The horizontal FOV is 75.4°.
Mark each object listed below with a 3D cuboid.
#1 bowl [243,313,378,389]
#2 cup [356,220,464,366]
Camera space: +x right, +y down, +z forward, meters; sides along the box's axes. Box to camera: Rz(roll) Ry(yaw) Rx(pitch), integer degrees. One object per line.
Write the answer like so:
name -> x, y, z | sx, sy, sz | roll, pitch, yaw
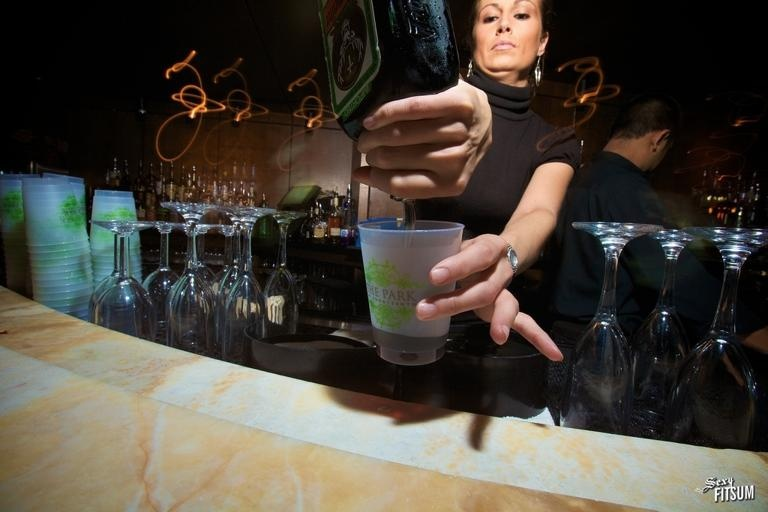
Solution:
bowl -> -0.177, 0.295, 1.540 | 0.381, 0.123, 0.336 | 2, 5, 8
cup -> 0.077, 0.076, 1.477 | 0.336, 0.419, 0.353 | -1, 5, 0
